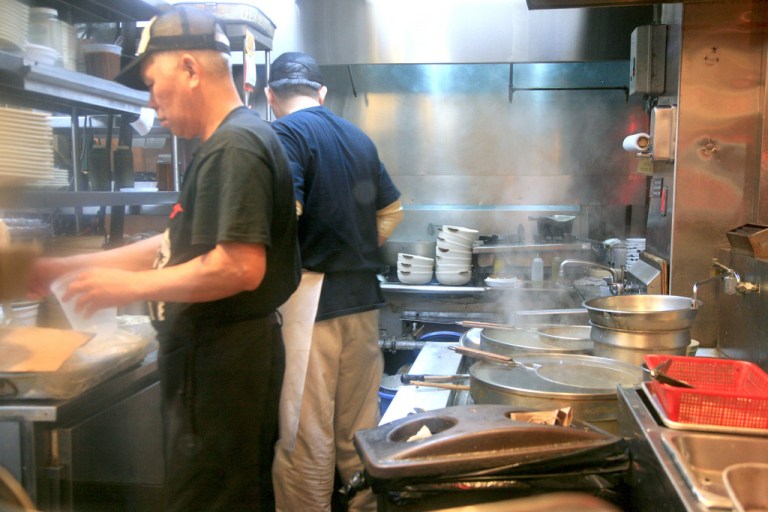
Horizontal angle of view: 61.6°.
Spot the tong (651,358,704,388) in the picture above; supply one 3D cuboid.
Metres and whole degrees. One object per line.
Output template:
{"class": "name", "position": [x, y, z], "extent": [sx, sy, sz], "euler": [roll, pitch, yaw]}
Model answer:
{"class": "tong", "position": [0.838, 0.341, 1.842], "extent": [0.111, 0.023, 0.102], "euler": [10, 15, -6]}

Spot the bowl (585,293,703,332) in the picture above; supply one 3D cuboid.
{"class": "bowl", "position": [0.963, 0.223, 2.441], "extent": [0.437, 0.077, 0.395], "euler": [-2, 5, 4]}

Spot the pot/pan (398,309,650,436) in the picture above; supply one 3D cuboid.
{"class": "pot/pan", "position": [0.525, 0.395, 2.089], "extent": [0.501, 0.155, 0.286], "euler": [1, 7, 32]}

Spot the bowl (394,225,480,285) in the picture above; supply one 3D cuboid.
{"class": "bowl", "position": [0.408, -0.005, 4.676], "extent": [0.599, 0.348, 0.394], "euler": [1, 2, 8]}

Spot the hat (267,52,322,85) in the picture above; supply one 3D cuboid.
{"class": "hat", "position": [-0.422, -0.848, 2.921], "extent": [0.272, 0.139, 0.283], "euler": [7, 15, 31]}

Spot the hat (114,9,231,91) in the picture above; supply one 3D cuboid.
{"class": "hat", "position": [-0.712, -0.700, 2.173], "extent": [0.370, 0.171, 0.237], "euler": [-2, 12, 1]}

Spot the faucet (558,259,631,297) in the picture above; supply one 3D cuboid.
{"class": "faucet", "position": [1.255, 0.115, 3.822], "extent": [0.419, 0.133, 0.300], "euler": [0, 4, 7]}

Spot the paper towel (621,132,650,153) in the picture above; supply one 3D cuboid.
{"class": "paper towel", "position": [1.317, -0.592, 3.372], "extent": [0.078, 0.064, 0.262], "euler": [-25, -2, 13]}

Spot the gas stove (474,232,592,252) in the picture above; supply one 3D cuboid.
{"class": "gas stove", "position": [1.120, -0.074, 4.922], "extent": [0.951, 0.086, 0.255], "euler": [-3, 8, -6]}
